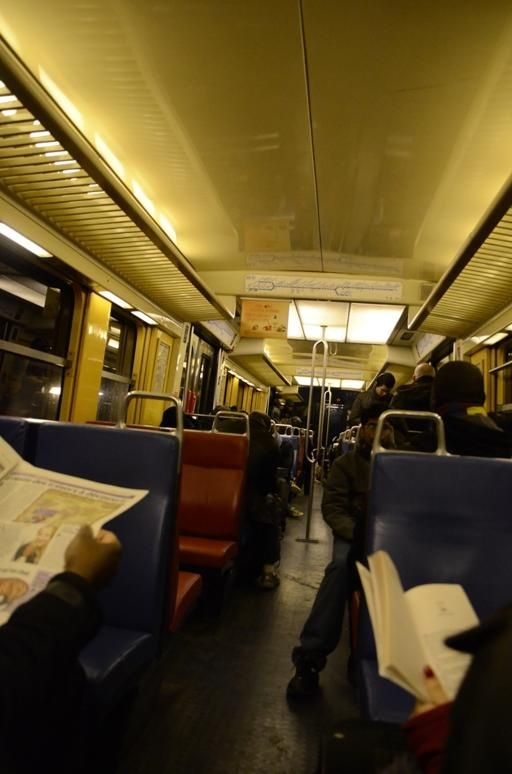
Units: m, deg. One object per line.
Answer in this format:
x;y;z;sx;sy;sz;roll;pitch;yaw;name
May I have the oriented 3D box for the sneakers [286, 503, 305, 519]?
0.618;1.968;7.779;0.119;0.177;0.371;4;3;18;sneakers
